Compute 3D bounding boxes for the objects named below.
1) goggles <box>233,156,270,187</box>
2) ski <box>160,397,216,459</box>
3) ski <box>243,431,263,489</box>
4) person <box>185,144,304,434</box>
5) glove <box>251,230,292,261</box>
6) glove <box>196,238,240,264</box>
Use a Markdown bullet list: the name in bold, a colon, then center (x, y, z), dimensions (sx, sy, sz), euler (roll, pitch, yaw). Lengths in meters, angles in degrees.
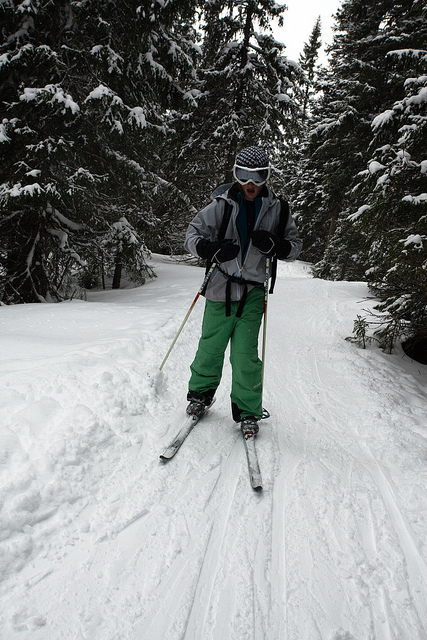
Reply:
- **goggles**: center (0.261, -0.991, 2.446), dimensions (0.234, 0.170, 0.128), euler (7, 9, 5)
- **ski**: center (-0.198, 0.755, 2.490), dimensions (0.064, 0.033, 0.632), euler (25, 15, 9)
- **ski**: center (0.253, 0.865, 2.255), dimensions (0.072, 0.482, 0.072), euler (-10, 27, 1)
- **person**: center (0.169, -0.186, 2.714), dimensions (0.804, 2.021, 0.541), euler (6, 9, 15)
- **glove**: center (0.421, -0.525, 2.615), dimensions (0.264, 0.204, 0.104), euler (17, -13, -40)
- **glove**: center (0.040, -0.485, 2.576), dimensions (0.231, 0.110, 0.172), euler (-27, 35, -33)
